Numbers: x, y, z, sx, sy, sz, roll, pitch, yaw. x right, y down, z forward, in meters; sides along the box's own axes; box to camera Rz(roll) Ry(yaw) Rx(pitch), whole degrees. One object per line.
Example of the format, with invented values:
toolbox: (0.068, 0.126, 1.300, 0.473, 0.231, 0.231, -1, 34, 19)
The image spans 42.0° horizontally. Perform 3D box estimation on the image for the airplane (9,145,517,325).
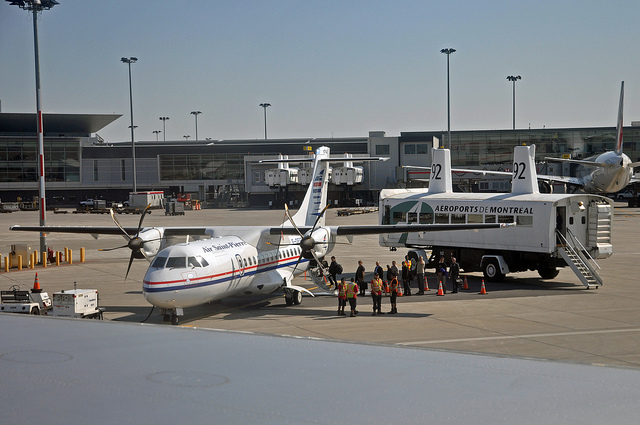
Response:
airplane: (-3.392, 0.667, 43.714, 13.376, 8.553, 9.782, 2, 4, -24)

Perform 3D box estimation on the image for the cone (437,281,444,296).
cone: (6.399, 4.077, 44.519, 0.528, 0.599, 0.490, 0, 1, 7)

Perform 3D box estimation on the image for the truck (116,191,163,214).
truck: (-24.094, -1.410, 112.541, 7.866, 3.304, 2.858, -6, 13, -34)

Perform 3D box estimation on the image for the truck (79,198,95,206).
truck: (-34.817, -1.645, 125.187, 2.216, 0.902, 1.240, -2, 14, -2)

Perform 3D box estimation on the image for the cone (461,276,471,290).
cone: (7.963, 3.949, 45.899, 0.492, 0.569, 0.470, 1, 6, 24)
